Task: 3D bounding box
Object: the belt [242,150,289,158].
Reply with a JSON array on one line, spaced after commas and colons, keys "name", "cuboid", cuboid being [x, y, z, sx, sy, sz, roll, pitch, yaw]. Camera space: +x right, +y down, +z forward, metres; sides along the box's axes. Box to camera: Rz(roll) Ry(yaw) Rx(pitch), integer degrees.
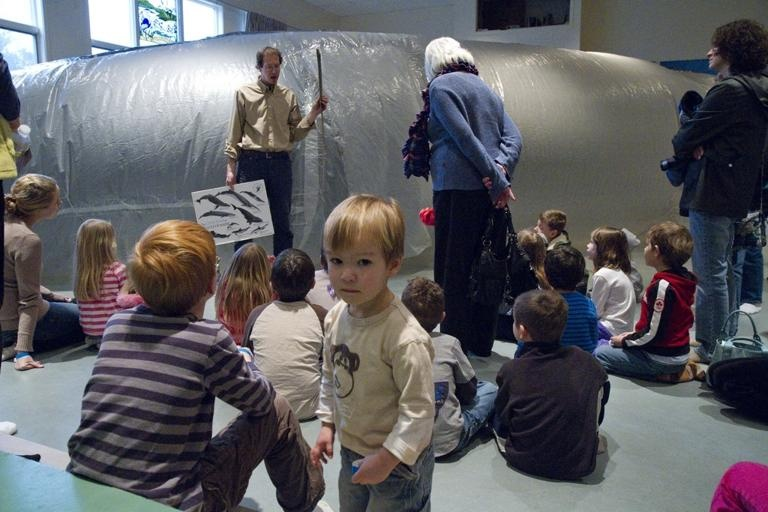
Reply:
[{"name": "belt", "cuboid": [-0.862, -0.726, 4.071, 0.332, 0.067, 0.084, 0, 7, -17]}]
